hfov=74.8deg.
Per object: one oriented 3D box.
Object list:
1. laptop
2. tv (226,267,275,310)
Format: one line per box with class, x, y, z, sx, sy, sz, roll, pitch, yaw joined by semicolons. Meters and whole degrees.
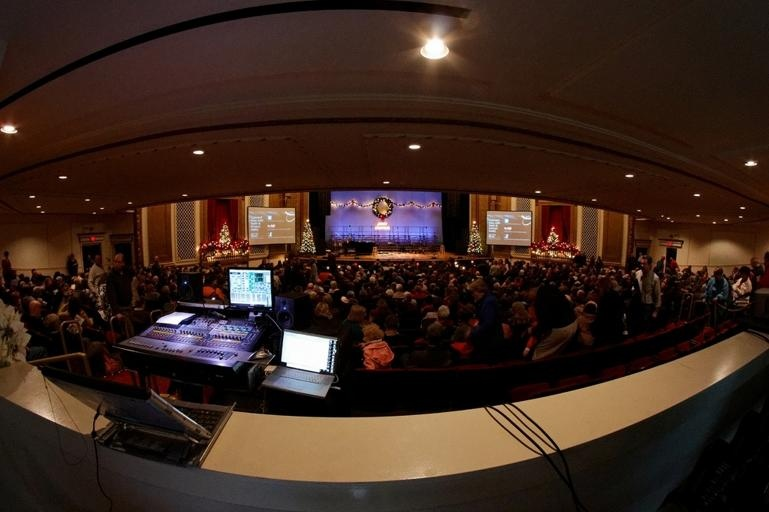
laptop;-0.838;1.046;4.921;0.637;0.403;0.563;8;13;14
tv;-1.487;0.363;5.584;0.608;0.431;0.104;2;6;19
